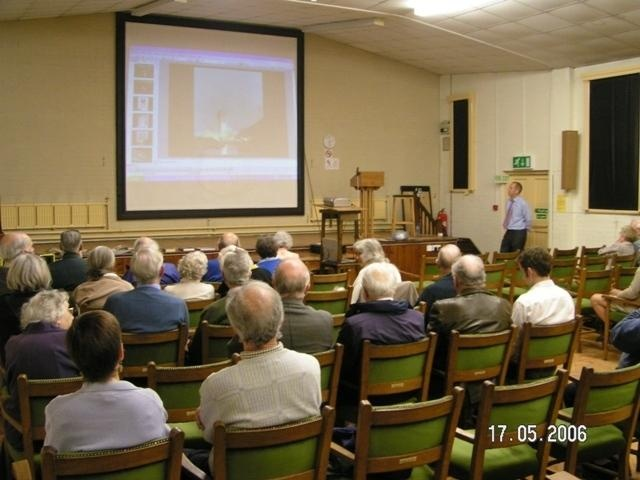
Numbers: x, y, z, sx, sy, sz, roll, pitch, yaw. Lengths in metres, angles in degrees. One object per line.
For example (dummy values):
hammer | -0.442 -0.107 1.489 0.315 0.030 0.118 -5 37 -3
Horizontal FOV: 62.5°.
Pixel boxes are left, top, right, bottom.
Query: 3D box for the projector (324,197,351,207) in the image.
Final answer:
projector | 0.301 -0.626 8.817 0.440 0.133 0.283 -3 7 0

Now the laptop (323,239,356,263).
laptop | 0.334 0.175 8.482 0.415 0.325 0.410 -1 3 -35
